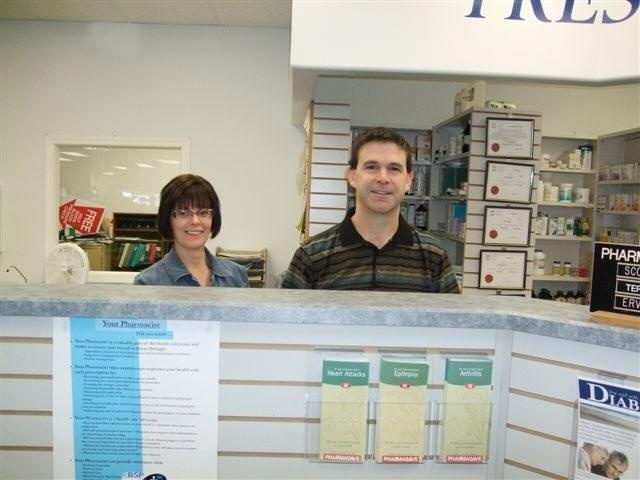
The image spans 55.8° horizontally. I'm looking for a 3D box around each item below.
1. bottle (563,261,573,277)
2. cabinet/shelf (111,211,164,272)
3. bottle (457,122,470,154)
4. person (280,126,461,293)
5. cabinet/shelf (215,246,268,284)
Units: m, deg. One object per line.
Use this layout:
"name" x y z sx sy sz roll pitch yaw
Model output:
"bottle" 2.771 0.339 6.797 0.128 0.211 0.132 0 1 0
"cabinet/shelf" -2.148 -0.079 7.272 0.598 1.047 0.296 2 21 -12
"bottle" 1.282 -0.904 5.353 0.152 0.220 0.114 2 3 20
"person" 0.266 -0.080 3.045 0.945 0.874 0.494 2 0 -1
"cabinet/shelf" -0.890 0.352 6.808 0.541 0.539 0.439 0 -9 -7
